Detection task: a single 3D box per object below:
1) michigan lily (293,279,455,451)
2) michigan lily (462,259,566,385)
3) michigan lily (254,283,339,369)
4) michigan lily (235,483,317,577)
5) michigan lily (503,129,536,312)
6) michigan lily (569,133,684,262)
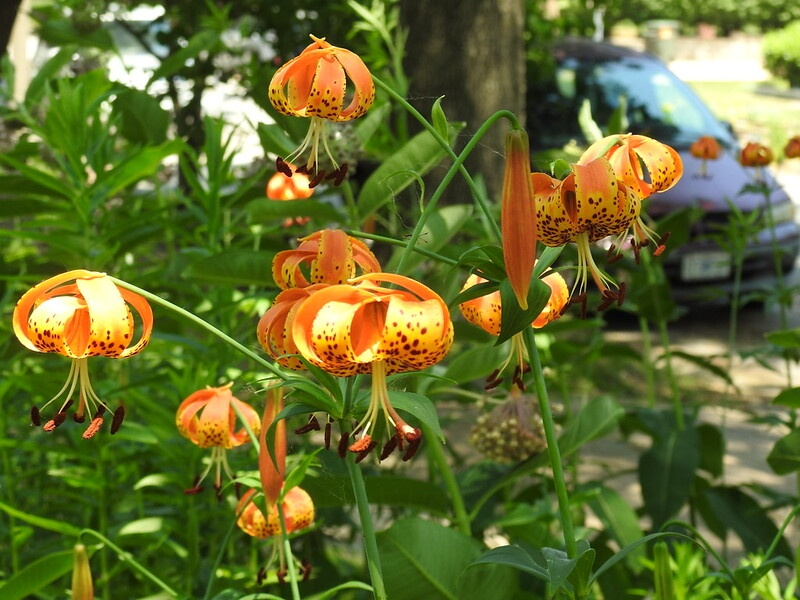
[{"bbox_3d":[-0.049,0.108,1.402,0.201,0.257,0.227,-8,-6,-14],"label":"michigan lily"},{"bbox_3d":[0.185,0.055,1.563,0.171,0.265,0.187,-2,-14,5],"label":"michigan lily"},{"bbox_3d":[-0.171,0.043,1.398,0.100,0.112,0.141,-4,-35,0],"label":"michigan lily"},{"bbox_3d":[-0.225,0.381,1.595,0.149,0.226,0.166,-3,-4,-16],"label":"michigan lily"},{"bbox_3d":[0.184,-0.127,1.349,0.066,0.259,0.096,7,13,5],"label":"michigan lily"},{"bbox_3d":[0.388,-0.162,1.577,0.183,0.293,0.219,4,-3,8],"label":"michigan lily"}]
